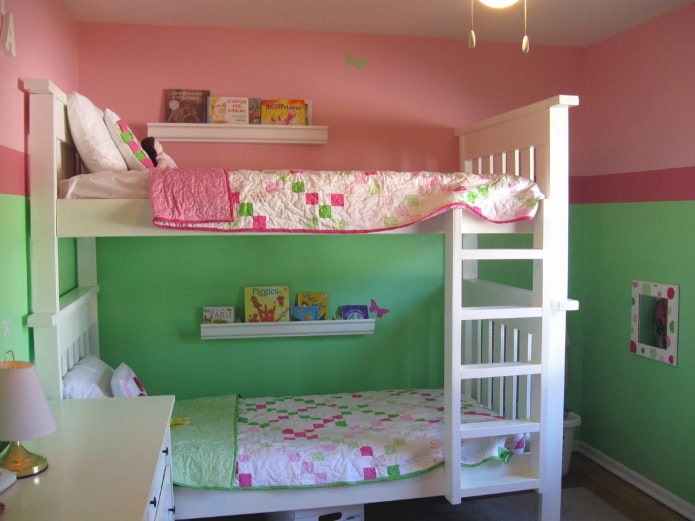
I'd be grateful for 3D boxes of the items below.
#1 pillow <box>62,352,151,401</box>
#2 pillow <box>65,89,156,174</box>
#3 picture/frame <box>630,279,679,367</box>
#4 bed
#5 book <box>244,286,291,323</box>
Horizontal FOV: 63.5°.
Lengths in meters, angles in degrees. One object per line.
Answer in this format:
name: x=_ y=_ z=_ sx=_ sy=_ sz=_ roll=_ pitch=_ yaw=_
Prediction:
pillow: x=-1.448 y=0.725 z=3.323 sx=0.303 sy=0.101 sz=0.324 roll=20 pitch=11 yaw=-28
pillow: x=-1.339 y=-0.670 z=3.092 sx=0.140 sy=0.474 sz=0.484 roll=-21 pitch=-9 yaw=9
picture/frame: x=2.109 y=0.409 z=3.846 sx=0.052 sy=0.546 sz=0.415 roll=-3 pitch=12 yaw=-20
bed: x=-0.353 y=0.226 z=3.414 sx=2.682 sy=2.551 sz=1.609 roll=0 pitch=-3 yaw=-16
book: x=-0.581 y=0.320 z=3.985 sx=0.227 sy=0.208 sz=0.025 roll=-1 pitch=-4 yaw=-8
